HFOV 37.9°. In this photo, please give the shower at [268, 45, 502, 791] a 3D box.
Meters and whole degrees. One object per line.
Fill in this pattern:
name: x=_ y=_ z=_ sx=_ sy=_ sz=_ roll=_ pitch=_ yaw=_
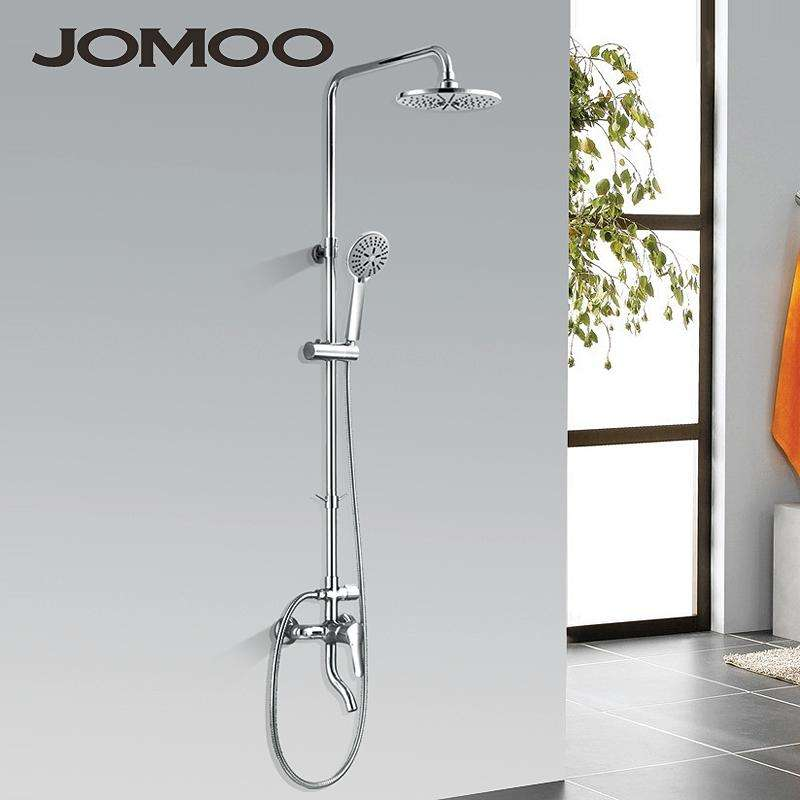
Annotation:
shower: x=-0.082 y=0.093 z=2.603 sx=0.320 sy=1.718 sz=0.690 roll=7 pitch=5 yaw=-7
